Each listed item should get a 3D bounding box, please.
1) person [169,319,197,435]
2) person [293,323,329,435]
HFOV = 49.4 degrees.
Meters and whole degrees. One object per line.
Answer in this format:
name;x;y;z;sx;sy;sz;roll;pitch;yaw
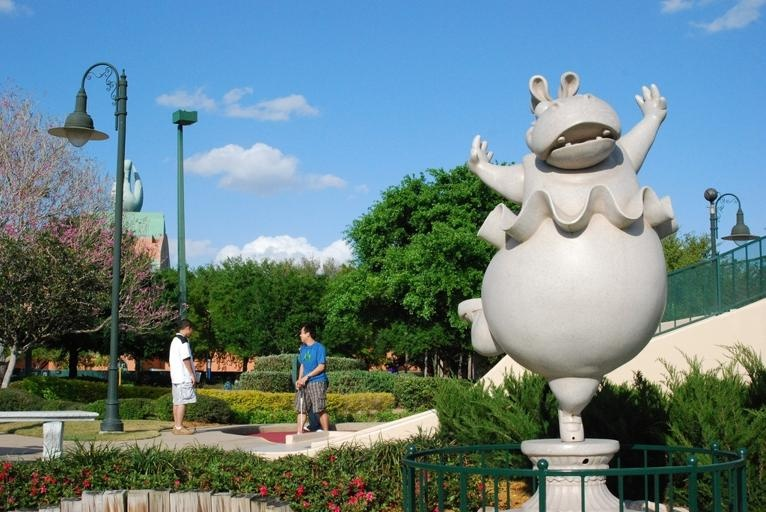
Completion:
person;-4.032;2.400;16.774;0.485;2.288;0.717;2;-10;-13
person;-1.469;2.520;17.177;0.673;2.180;1.527;0;-10;-5
